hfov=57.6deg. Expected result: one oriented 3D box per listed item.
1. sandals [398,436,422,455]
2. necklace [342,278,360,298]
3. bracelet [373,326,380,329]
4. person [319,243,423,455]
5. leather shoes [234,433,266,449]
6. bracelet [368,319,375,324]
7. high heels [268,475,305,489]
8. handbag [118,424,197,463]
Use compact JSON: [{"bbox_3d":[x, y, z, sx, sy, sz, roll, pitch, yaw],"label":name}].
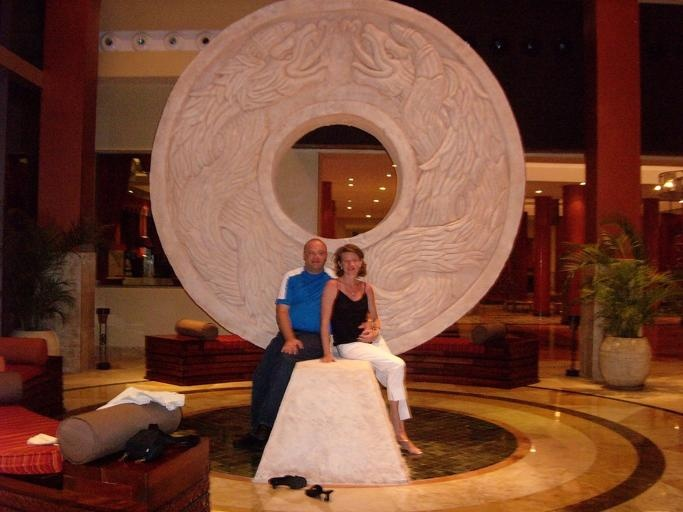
[{"bbox_3d":[0.559,1.604,5.275,0.241,0.149,0.084,-9,-1,39],"label":"sandals"},{"bbox_3d":[0.075,0.277,5.348,0.152,0.143,0.036,-9,-5,-20],"label":"necklace"},{"bbox_3d":[0.311,0.624,5.437,0.041,0.023,0.013,-23,-12,19],"label":"bracelet"},{"bbox_3d":[0.220,0.777,5.310,0.794,1.741,0.404,1,-3,-2],"label":"person"},{"bbox_3d":[-0.783,1.588,5.384,0.293,0.124,0.113,4,-1,-10],"label":"leather shoes"},{"bbox_3d":[0.250,0.570,5.472,0.035,0.009,0.038,-10,18,-19],"label":"bracelet"},{"bbox_3d":[-0.403,1.656,4.566,0.265,0.097,0.105,-1,6,3],"label":"high heels"},{"bbox_3d":[-1.116,1.127,3.757,0.211,0.077,0.257,2,5,17],"label":"handbag"}]
